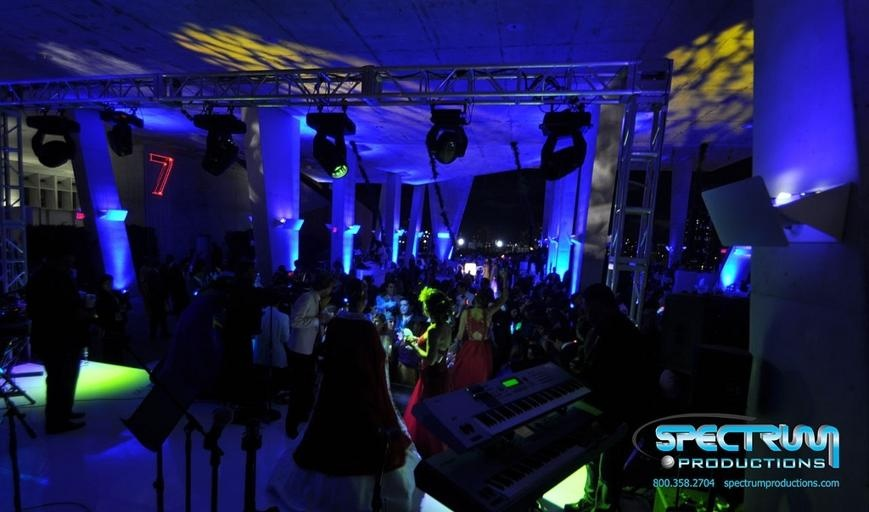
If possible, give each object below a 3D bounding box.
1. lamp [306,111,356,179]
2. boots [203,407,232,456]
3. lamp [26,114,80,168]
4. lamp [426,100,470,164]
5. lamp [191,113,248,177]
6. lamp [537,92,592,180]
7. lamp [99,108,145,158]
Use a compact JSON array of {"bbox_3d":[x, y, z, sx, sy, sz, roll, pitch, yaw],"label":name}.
[{"bbox_3d":[-2.056,-2.257,11.029,0.853,1.378,0.913,1,1,-11],"label":"lamp"},{"bbox_3d":[-2.752,2.215,7.090,0.317,0.598,0.346,1,1,-20],"label":"boots"},{"bbox_3d":[-7.970,-2.477,11.714,0.902,1.135,0.488,1,1,-17],"label":"lamp"},{"bbox_3d":[0.287,-2.553,10.912,0.975,1.216,1.191,0,38,3],"label":"lamp"},{"bbox_3d":[-4.238,-2.245,10.977,0.916,1.208,0.451,1,2,-23],"label":"lamp"},{"bbox_3d":[2.512,-2.271,10.622,1.082,1.266,0.969,-5,9,-4],"label":"lamp"},{"bbox_3d":[-6.699,-2.685,11.803,0.871,0.993,0.520,6,21,-18],"label":"lamp"}]
